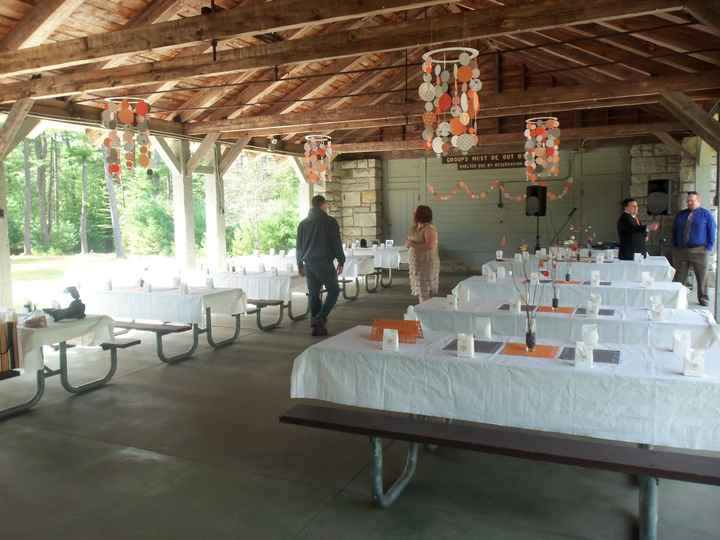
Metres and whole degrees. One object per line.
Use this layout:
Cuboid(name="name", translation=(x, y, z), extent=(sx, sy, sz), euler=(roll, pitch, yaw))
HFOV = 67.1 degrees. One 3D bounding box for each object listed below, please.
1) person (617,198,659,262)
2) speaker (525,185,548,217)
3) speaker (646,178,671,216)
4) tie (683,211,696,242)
Cuboid(name="person", translation=(4.782, -0.782, 9.362), extent=(0.541, 0.926, 3.613), euler=(5, 11, 27))
Cuboid(name="speaker", translation=(3.876, -1.531, 11.987), extent=(0.403, 0.627, 0.393), euler=(2, 10, 12))
Cuboid(name="speaker", translation=(6.471, -1.596, 11.823), extent=(0.503, 0.772, 0.491), euler=(-2, 16, 13))
Cuboid(name="tie", translation=(5.119, -0.661, 8.483), extent=(0.111, 0.503, 0.093), euler=(5, 12, 28))
